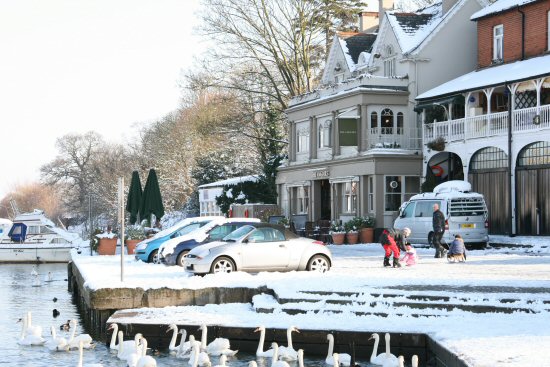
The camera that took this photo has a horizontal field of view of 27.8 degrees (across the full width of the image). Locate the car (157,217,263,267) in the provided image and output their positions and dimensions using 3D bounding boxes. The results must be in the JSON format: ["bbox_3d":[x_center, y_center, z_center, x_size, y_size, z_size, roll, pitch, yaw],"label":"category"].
[{"bbox_3d":[-4.695,2.883,58.452,6.874,2.969,3.569,2,-4,-25],"label":"car"}]

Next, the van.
[{"bbox_3d":[9.334,1.988,62.502,2.581,2.587,4.484,1,1,-27],"label":"van"}]

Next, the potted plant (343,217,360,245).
[{"bbox_3d":[4.874,2.917,69.518,0.979,1.594,0.839,-2,-4,3],"label":"potted plant"}]

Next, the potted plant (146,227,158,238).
[{"bbox_3d":[-7.492,2.988,68.600,0.619,0.814,0.750,-1,-2,15],"label":"potted plant"}]

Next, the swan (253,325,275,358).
[{"bbox_3d":[-0.457,6.504,46.245,0.693,1.355,0.762,-2,-4,-3],"label":"swan"}]

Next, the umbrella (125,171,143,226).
[{"bbox_3d":[-6.853,0.582,54.831,0.761,2.669,2.259,-2,-4,-7],"label":"umbrella"}]

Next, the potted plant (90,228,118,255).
[{"bbox_3d":[-9.960,3.407,65.563,1.425,1.504,1.500,0,-4,-11],"label":"potted plant"}]

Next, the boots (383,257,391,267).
[{"bbox_3d":[5.473,3.758,54.419,0.340,0.526,0.370,-3,-4,6],"label":"boots"}]

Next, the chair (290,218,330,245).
[{"bbox_3d":[2.516,3.003,71.593,1.379,1.625,2.295,0,-2,7],"label":"chair"}]

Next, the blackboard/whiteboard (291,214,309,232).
[{"bbox_3d":[1.676,2.449,73.762,1.208,1.330,0.953,0,-4,4],"label":"blackboard/whiteboard"}]

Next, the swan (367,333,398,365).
[{"bbox_3d":[4.341,6.688,44.960,1.021,1.278,1.080,-1,-1,-10],"label":"swan"}]

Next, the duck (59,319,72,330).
[{"bbox_3d":[-9.327,6.275,49.904,0.486,0.271,0.720,1,-5,-6],"label":"duck"}]

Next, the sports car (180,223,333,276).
[{"bbox_3d":[-0.655,3.034,52.280,6.418,2.310,0.885,-2,-4,-6],"label":"sports car"}]

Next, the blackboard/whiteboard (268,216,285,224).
[{"bbox_3d":[0.118,2.418,75.037,0.888,0.530,0.658,-1,0,6],"label":"blackboard/whiteboard"}]

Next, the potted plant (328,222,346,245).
[{"bbox_3d":[4.012,3.136,69.723,1.034,1.302,1.069,1,-10,-9],"label":"potted plant"}]

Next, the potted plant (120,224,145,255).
[{"bbox_3d":[-8.072,3.115,66.589,1.870,2.135,2.006,2,-8,-17],"label":"potted plant"}]
